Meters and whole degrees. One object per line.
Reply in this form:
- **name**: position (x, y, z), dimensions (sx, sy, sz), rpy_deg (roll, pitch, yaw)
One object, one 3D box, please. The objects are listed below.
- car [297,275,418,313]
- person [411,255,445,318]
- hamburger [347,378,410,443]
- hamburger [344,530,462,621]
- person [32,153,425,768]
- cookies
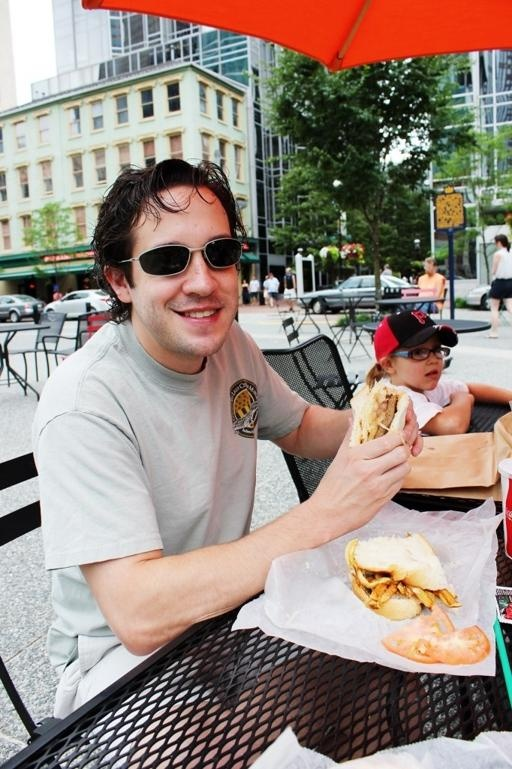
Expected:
- **car**: position (3.180, -3.018, 18.937), dimensions (4.495, 1.523, 1.962), rpy_deg (3, 9, 16)
- **person**: position (3.574, -2.074, 12.049), dimensions (0.715, 1.152, 0.575), rpy_deg (0, 6, -14)
- **hamburger**: position (0.241, 0.040, 1.122), dimensions (0.130, 0.123, 0.113), rpy_deg (4, 4, 17)
- **hamburger**: position (0.227, 0.294, 0.911), dimensions (0.154, 0.093, 0.111), rpy_deg (2, 2, -24)
- **person**: position (-0.108, 0.101, 1.238), dimensions (0.814, 1.268, 0.718), rpy_deg (-1, 3, -42)
- **cookies**: position (0.244, 0.338, 0.754), dimensions (0.140, 0.015, 0.087), rpy_deg (-19, 21, 47)
